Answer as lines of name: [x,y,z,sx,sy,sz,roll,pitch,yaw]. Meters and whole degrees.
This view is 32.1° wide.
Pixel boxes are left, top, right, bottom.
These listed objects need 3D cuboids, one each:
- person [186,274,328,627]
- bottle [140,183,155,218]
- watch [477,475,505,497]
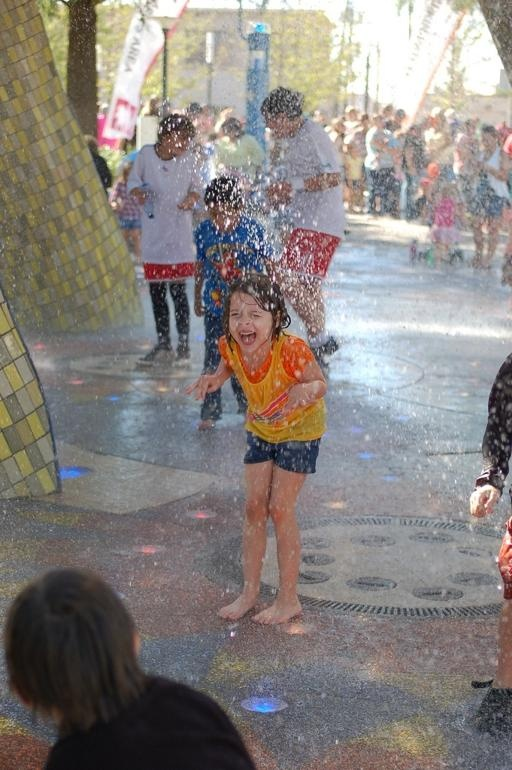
person: [-0.002,0.200,2.885,0.492,1.102,0.377,11,16,40]
bottle: [-0.804,-1.383,6.705,0.050,0.209,0.149,-11,6,-10]
watch: [0.539,0.230,2.059,0.049,0.038,0.049,21,-13,1]
